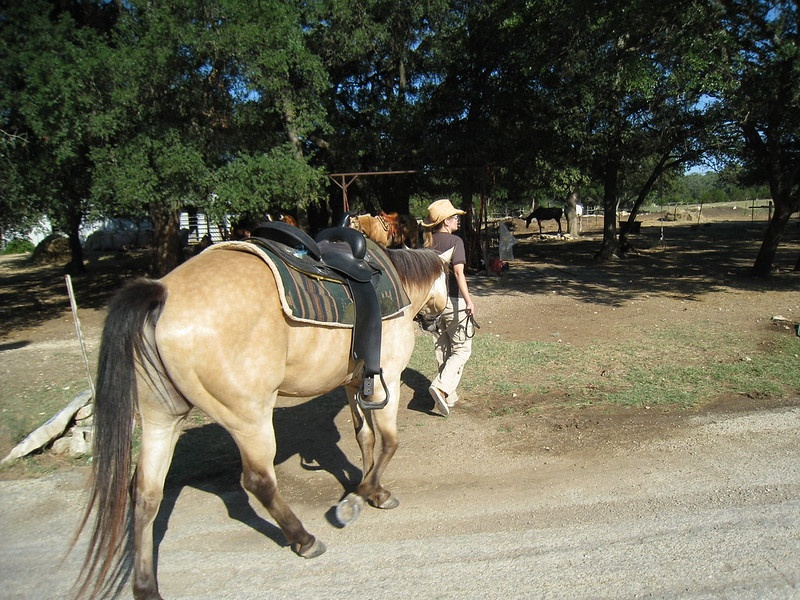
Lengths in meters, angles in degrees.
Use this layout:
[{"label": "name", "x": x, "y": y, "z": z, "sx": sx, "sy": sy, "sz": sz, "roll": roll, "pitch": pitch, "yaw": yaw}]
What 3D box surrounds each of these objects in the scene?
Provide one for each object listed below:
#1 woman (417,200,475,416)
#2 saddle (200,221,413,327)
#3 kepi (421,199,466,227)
[{"label": "woman", "x": 0.605, "y": 0.106, "z": 8.059, "sx": 0.693, "sy": 2.812, "sz": 1.210, "roll": -1, "pitch": -1, "yaw": -12}, {"label": "saddle", "x": -0.891, "y": -0.175, "z": 6.166, "sx": 1.559, "sy": 0.758, "sz": 2.229, "roll": 6, "pitch": 7, "yaw": 30}, {"label": "kepi", "x": 0.568, "y": -1.101, "z": 7.875, "sx": 0.434, "sy": 0.174, "sz": 0.376, "roll": -34, "pitch": 13, "yaw": -1}]
